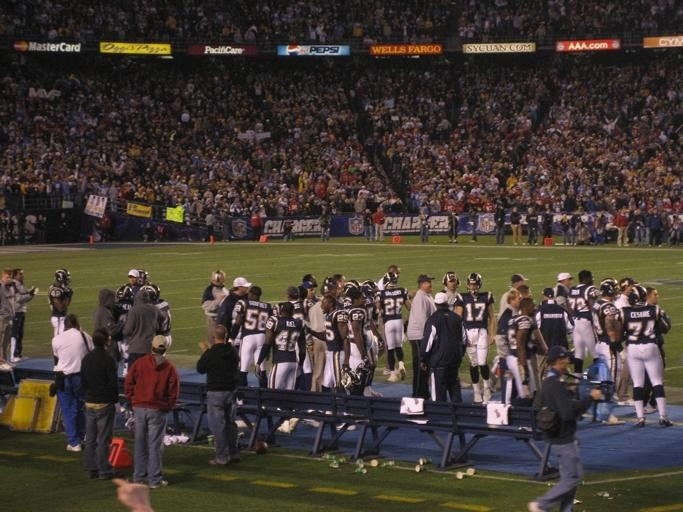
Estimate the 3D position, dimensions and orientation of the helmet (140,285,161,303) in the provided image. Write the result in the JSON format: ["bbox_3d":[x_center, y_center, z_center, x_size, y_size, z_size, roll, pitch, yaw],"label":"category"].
[{"bbox_3d":[-3.820,0.728,22.582,0.336,0.387,0.397,-4,-10,24],"label":"helmet"}]

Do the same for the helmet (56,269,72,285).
[{"bbox_3d":[-6.403,0.464,25.567,0.277,0.351,0.649,0,-6,-7],"label":"helmet"}]

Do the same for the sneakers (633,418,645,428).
[{"bbox_3d":[5.669,3.142,21.206,0.191,0.177,0.111,-6,-8,41],"label":"sneakers"}]

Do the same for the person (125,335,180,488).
[{"bbox_3d":[-3.249,2.615,19.013,0.927,2.563,0.589,-1,-6,3],"label":"person"}]

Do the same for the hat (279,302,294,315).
[{"bbox_3d":[-1.072,0.991,21.418,0.215,0.278,0.285,8,24,-12],"label":"hat"}]

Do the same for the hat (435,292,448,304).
[{"bbox_3d":[1.908,0.785,21.372,0.219,0.248,0.346,-1,-6,1],"label":"hat"}]

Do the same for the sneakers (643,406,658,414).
[{"bbox_3d":[6.105,3.017,22.065,0.155,0.151,0.362,0,3,29],"label":"sneakers"}]

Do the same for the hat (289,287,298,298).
[{"bbox_3d":[-0.953,0.683,22.054,0.166,0.203,0.204,5,36,-1],"label":"hat"}]

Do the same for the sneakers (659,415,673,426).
[{"bbox_3d":[6.221,3.121,21.302,0.386,0.192,0.203,4,-8,-42],"label":"sneakers"}]

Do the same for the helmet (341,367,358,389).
[{"bbox_3d":[0.136,2.297,21.182,0.294,0.191,0.394,19,-12,-8],"label":"helmet"}]

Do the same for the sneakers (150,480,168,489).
[{"bbox_3d":[-3.091,3.840,18.885,0.303,0.116,0.141,-12,-32,-8],"label":"sneakers"}]

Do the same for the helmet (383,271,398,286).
[{"bbox_3d":[1.093,0.475,24.584,0.240,0.291,0.311,1,20,-7],"label":"helmet"}]

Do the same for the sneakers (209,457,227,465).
[{"bbox_3d":[-2.195,3.622,19.848,0.337,0.141,0.126,5,4,23],"label":"sneakers"}]

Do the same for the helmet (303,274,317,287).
[{"bbox_3d":[-0.633,0.520,23.537,0.290,0.282,0.254,-11,11,-15],"label":"helmet"}]

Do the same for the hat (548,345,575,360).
[{"bbox_3d":[3.499,1.530,17.878,0.317,0.169,0.220,-1,8,-5],"label":"hat"}]

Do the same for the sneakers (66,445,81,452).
[{"bbox_3d":[-4.948,3.504,20.589,0.240,0.103,0.112,4,3,43],"label":"sneakers"}]

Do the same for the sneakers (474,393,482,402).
[{"bbox_3d":[2.797,2.898,22.992,0.147,0.164,0.155,0,4,36],"label":"sneakers"}]

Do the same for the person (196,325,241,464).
[{"bbox_3d":[-2.198,2.444,19.892,0.741,2.456,0.532,1,-6,-14],"label":"person"}]

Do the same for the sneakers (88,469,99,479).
[{"bbox_3d":[-4.277,3.730,19.186,0.147,0.107,0.145,0,3,-37],"label":"sneakers"}]

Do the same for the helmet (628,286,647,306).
[{"bbox_3d":[5.721,0.729,21.479,0.310,0.417,0.439,-4,-6,27],"label":"helmet"}]

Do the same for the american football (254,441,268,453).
[{"bbox_3d":[-1.479,3.460,20.345,0.196,0.175,0.194,-1,-6,-1],"label":"american football"}]

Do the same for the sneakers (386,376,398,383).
[{"bbox_3d":[1.141,2.662,24.752,0.102,0.213,0.287,-3,3,-35],"label":"sneakers"}]

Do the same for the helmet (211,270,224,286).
[{"bbox_3d":[-2.646,0.451,23.949,0.232,0.322,0.289,1,-6,-16],"label":"helmet"}]

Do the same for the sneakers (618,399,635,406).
[{"bbox_3d":[5.866,2.991,22.882,0.282,0.120,0.100,-10,45,-16],"label":"sneakers"}]

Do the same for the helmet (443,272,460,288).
[{"bbox_3d":[2.287,0.475,23.219,0.268,0.285,0.530,-1,-6,-1],"label":"helmet"}]

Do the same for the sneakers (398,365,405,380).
[{"bbox_3d":[1.344,2.580,24.764,0.115,0.306,0.128,-6,41,3],"label":"sneakers"}]

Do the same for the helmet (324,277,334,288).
[{"bbox_3d":[-0.256,0.532,23.326,0.163,0.218,0.205,-1,9,-4],"label":"helmet"}]

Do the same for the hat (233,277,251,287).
[{"bbox_3d":[-2.060,0.518,22.780,0.265,0.232,0.371,0,-6,-11],"label":"hat"}]

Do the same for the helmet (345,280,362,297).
[{"bbox_3d":[0.202,0.618,21.872,0.251,0.315,0.295,6,-33,15],"label":"helmet"}]

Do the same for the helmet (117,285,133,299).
[{"bbox_3d":[-4.630,0.750,23.691,0.227,0.299,0.306,5,2,2],"label":"helmet"}]

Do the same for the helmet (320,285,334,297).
[{"bbox_3d":[-0.288,0.685,23.152,0.248,0.246,0.190,-20,18,-27],"label":"helmet"}]

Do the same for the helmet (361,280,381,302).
[{"bbox_3d":[0.624,0.774,23.761,0.450,0.422,0.356,-12,27,-42],"label":"helmet"}]

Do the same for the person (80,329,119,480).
[{"bbox_3d":[-4.215,2.521,19.322,0.642,2.566,0.326,0,-6,-3],"label":"person"}]

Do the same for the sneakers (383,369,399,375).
[{"bbox_3d":[1.113,2.584,25.300,0.395,0.166,0.136,2,4,18],"label":"sneakers"}]

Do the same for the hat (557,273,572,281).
[{"bbox_3d":[4.766,0.427,23.809,0.229,0.197,0.340,-1,-6,4],"label":"hat"}]

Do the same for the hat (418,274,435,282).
[{"bbox_3d":[1.751,0.456,23.095,0.306,0.165,0.200,-3,5,8],"label":"hat"}]

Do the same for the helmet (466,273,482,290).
[{"bbox_3d":[2.778,0.507,23.295,0.290,0.336,0.382,0,1,11],"label":"helmet"}]

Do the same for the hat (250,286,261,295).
[{"bbox_3d":[-1.714,0.694,22.474,0.162,0.204,0.199,6,-5,-22],"label":"hat"}]
